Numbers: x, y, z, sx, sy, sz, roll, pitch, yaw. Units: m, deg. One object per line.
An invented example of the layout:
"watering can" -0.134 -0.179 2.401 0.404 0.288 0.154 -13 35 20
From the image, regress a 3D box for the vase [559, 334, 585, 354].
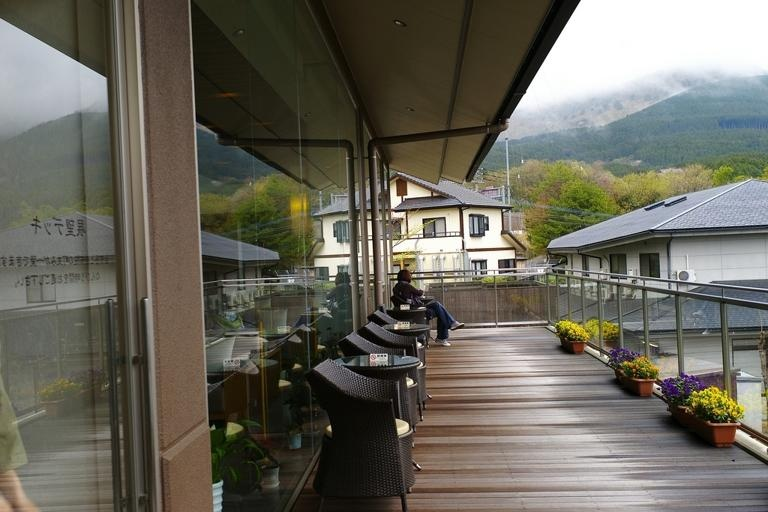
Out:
"vase" 2.856 1.349 8.823 0.259 0.235 0.544 -3 2 -15

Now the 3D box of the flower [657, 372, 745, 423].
"flower" 2.792 1.261 5.186 0.595 0.273 0.690 15 9 -15

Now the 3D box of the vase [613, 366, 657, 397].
"vase" 2.814 1.425 6.510 0.290 0.203 0.620 -3 2 -15

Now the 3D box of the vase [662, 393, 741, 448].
"vase" 2.786 1.458 5.066 0.224 0.226 0.689 -2 2 -6

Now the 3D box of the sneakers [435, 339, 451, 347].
"sneakers" 0.990 1.520 9.958 0.292 0.190 0.095 2 -3 -5

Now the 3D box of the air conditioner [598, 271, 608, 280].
"air conditioner" 3.657 0.325 9.634 0.140 0.133 0.256 -5 -10 17

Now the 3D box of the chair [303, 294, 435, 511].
"chair" -0.073 1.003 3.991 0.941 1.084 1.114 -1 -4 6

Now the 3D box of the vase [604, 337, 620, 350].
"vase" 3.143 1.206 7.949 0.208 0.114 0.201 -1 -5 -8
